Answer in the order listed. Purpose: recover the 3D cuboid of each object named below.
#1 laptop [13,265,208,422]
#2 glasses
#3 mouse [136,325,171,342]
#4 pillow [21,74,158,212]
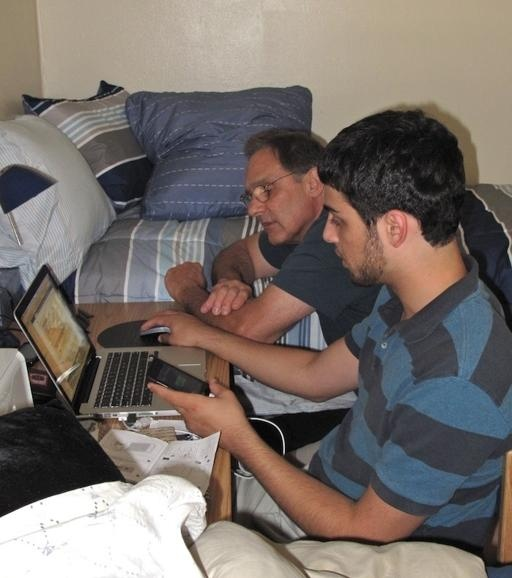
[{"bbox_3d":[-0.245,0.135,1.069,0.370,0.207,0.328,-2,26,-6],"label":"laptop"},{"bbox_3d":[0.042,-0.299,1.543,0.129,0.034,0.118,-27,2,-26],"label":"glasses"},{"bbox_3d":[-0.256,0.112,1.289,0.063,0.014,0.039,1,25,4],"label":"mouse"},{"bbox_3d":[-0.698,-0.504,2.062,0.160,0.465,0.528,-26,-3,37],"label":"pillow"}]
